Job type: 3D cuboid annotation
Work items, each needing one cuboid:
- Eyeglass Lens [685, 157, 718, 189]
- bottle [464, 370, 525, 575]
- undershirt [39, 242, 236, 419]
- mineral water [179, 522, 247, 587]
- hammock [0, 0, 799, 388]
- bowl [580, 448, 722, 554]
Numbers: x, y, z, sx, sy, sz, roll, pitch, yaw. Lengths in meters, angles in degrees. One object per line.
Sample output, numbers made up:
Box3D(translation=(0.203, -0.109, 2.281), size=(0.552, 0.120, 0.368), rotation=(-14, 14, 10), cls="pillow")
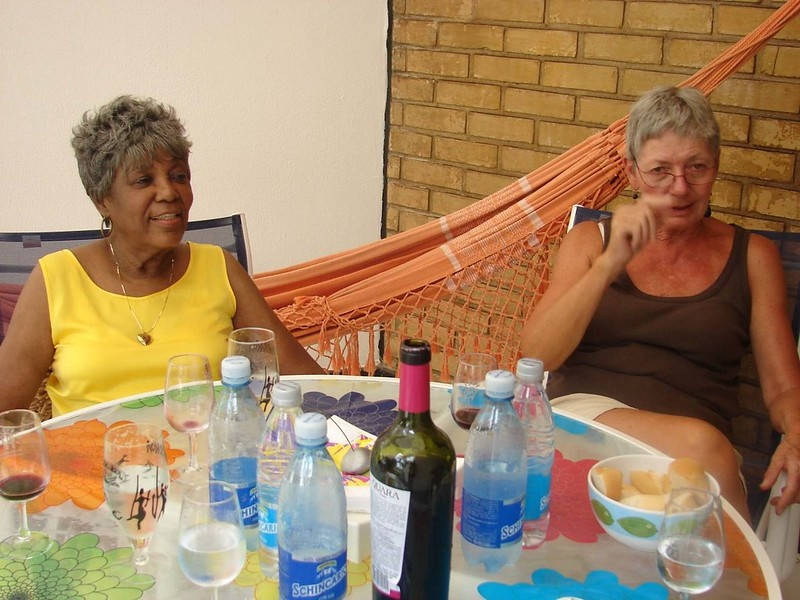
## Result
Box3D(translation=(0.767, -0.319, 1.638), size=(0.111, 0.070, 0.032), rotation=(-1, 2, -30), cls="Eyeglass Lens")
Box3D(translation=(0.123, 0.230, 0.849), size=(0.087, 0.278, 0.090), rotation=(-1, 2, 0), cls="bottle")
Box3D(translation=(-0.607, 0.074, 1.445), size=(0.372, 0.330, 0.193), rotation=(-8, -11, -29), cls="undershirt")
Box3D(translation=(-0.211, 0.284, 0.731), size=(0.068, 0.054, 0.074), rotation=(1, 5, -4), cls="mineral water")
Box3D(translation=(-0.233, -0.222, 2.761), size=(2.988, 1.401, 0.944), rotation=(0, 8, 34), cls="hammock")
Box3D(translation=(0.349, 0.272, 0.946), size=(0.141, 0.078, 0.144), rotation=(-2, 11, 0), cls="bowl")
